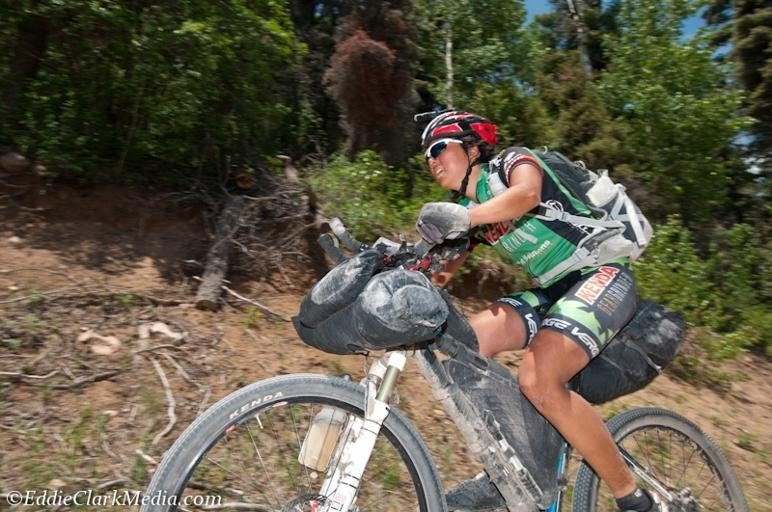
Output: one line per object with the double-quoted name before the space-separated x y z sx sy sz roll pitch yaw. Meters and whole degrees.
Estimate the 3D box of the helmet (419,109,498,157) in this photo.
"helmet" 0.730 -1.230 5.917 0.823 0.248 0.450 -2 6 -6

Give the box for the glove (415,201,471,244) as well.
"glove" 0.515 -0.276 5.436 0.473 0.415 0.234 12 27 -1
